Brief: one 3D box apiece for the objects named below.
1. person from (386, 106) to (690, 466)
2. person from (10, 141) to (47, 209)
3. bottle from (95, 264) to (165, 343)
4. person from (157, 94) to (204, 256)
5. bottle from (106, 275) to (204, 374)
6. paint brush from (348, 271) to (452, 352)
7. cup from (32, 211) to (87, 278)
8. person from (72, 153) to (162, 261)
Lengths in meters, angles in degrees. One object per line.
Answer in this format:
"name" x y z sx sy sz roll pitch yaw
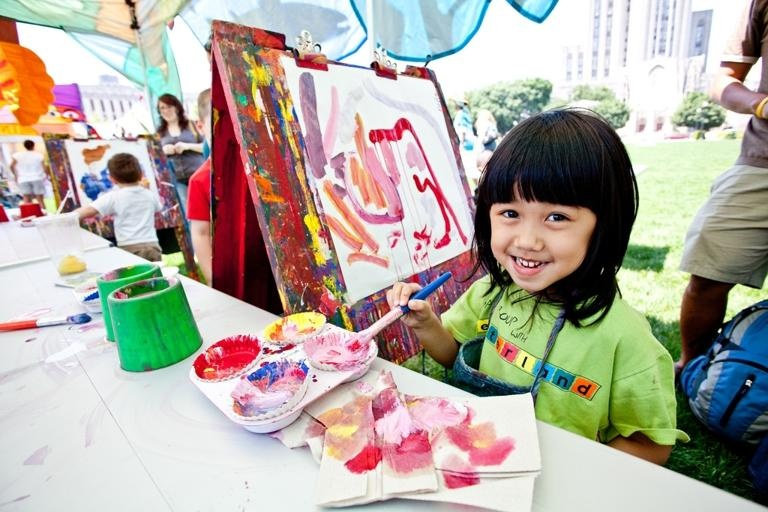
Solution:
"person" 0.500 0.251 1.910 0.747 1.551 0.788 -5 16 -9
"person" -4.414 -0.981 6.126 0.344 1.035 0.273 -1 27 -28
"bottle" -0.982 0.147 1.930 0.227 0.331 0.229 4 13 -1
"person" -1.755 -0.817 4.324 0.308 1.134 0.348 -12 10 -22
"bottle" -0.853 0.248 1.822 0.274 0.275 0.279 1 17 15
"paint brush" 0.045 0.228 1.947 0.563 0.062 0.089 -32 11 -28
"cup" -1.583 -0.074 2.437 0.180 0.378 0.212 2 -3 -11
"person" -2.119 -0.305 4.180 0.888 1.123 0.658 -4 -6 35
